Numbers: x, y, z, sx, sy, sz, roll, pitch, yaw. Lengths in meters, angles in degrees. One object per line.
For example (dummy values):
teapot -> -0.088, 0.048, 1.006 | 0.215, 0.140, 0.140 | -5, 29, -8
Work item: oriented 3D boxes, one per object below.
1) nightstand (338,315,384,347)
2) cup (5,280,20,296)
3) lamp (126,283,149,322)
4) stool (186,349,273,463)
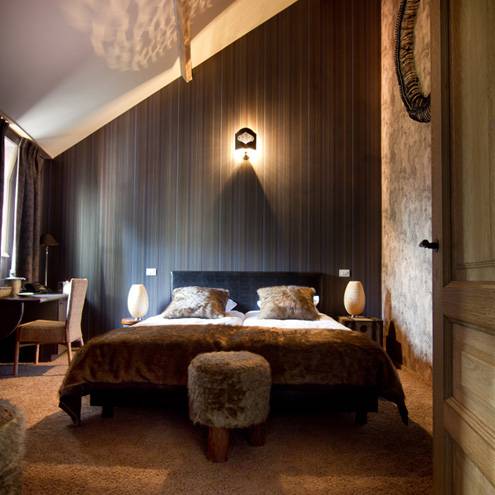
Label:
nightstand -> 1.188, 0.822, 4.518 | 0.391, 0.518, 0.345 | -1, -6, 3
cup -> -2.393, 0.412, 4.363 | 0.108, 0.230, 0.125 | 0, -10, -11
lamp -> -1.210, 0.605, 4.740 | 0.186, 0.391, 0.156 | 0, -1, 32
stool -> -0.118, 0.843, 2.500 | 0.405, 0.509, 0.428 | 0, 0, -27
